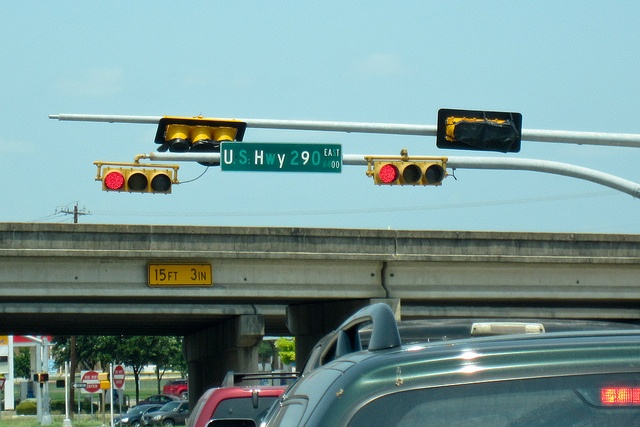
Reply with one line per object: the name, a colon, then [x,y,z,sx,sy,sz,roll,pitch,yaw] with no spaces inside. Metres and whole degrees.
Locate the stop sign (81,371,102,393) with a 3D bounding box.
stop sign: [-13.483,10.004,92.350,0.982,1.623,1.672,0,-25,-6]

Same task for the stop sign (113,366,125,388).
stop sign: [-11.814,9.678,91.982,0.602,1.655,1.125,2,-24,-10]
